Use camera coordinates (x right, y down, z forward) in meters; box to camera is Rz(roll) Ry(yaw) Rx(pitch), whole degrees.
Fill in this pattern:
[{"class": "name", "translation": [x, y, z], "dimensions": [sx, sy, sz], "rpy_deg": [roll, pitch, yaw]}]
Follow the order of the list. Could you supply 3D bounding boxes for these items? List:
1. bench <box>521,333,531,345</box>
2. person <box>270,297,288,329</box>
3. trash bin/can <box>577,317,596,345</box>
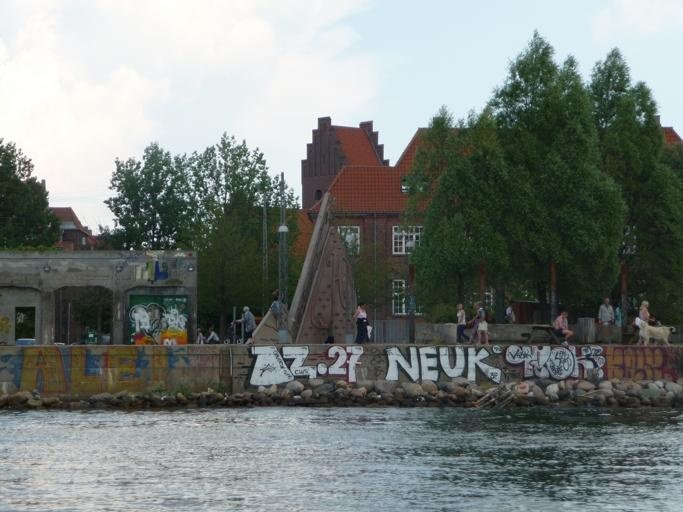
[{"class": "bench", "translation": [9.911, 4.481, 91.557], "dimensions": [0.527, 0.594, 0.412], "rpy_deg": [1, 3, 9]}, {"class": "person", "translation": [-3.185, 2.899, 88.039], "dimensions": [0.771, 2.386, 0.630], "rpy_deg": [-6, 33, -19]}, {"class": "trash bin/can", "translation": [13.298, 4.117, 92.116], "dimensions": [1.111, 1.368, 1.160], "rpy_deg": [1, -5, -9]}]
